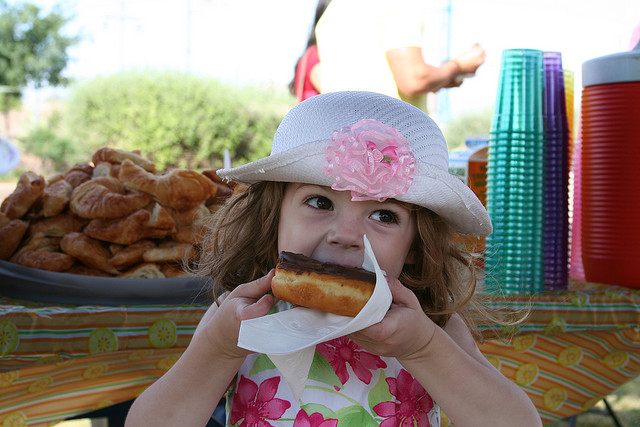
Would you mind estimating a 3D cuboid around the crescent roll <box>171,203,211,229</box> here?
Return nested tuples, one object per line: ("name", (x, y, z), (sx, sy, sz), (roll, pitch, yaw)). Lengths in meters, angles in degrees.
("crescent roll", (-0.612, 0.011, 2.778), (0.119, 0.055, 0.141), (-19, 6, -41))

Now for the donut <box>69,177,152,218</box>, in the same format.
("donut", (-0.965, -0.081, 2.645), (0.236, 0.074, 0.224), (-7, 17, -24))

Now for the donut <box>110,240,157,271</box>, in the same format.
("donut", (-0.851, 0.183, 2.629), (0.169, 0.090, 0.050), (-32, 13, -20))

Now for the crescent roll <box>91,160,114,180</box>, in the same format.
("crescent roll", (-1.027, -0.213, 2.754), (0.095, 0.095, 0.030), (-25, -22, 18))

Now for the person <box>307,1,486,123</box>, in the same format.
("person", (0.423, -0.903, 3.285), (0.719, 0.513, 0.953), (-12, 26, -40))

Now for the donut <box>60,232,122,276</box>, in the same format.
("donut", (-1.022, 0.200, 2.659), (0.269, 0.149, 0.079), (34, -36, -25))
